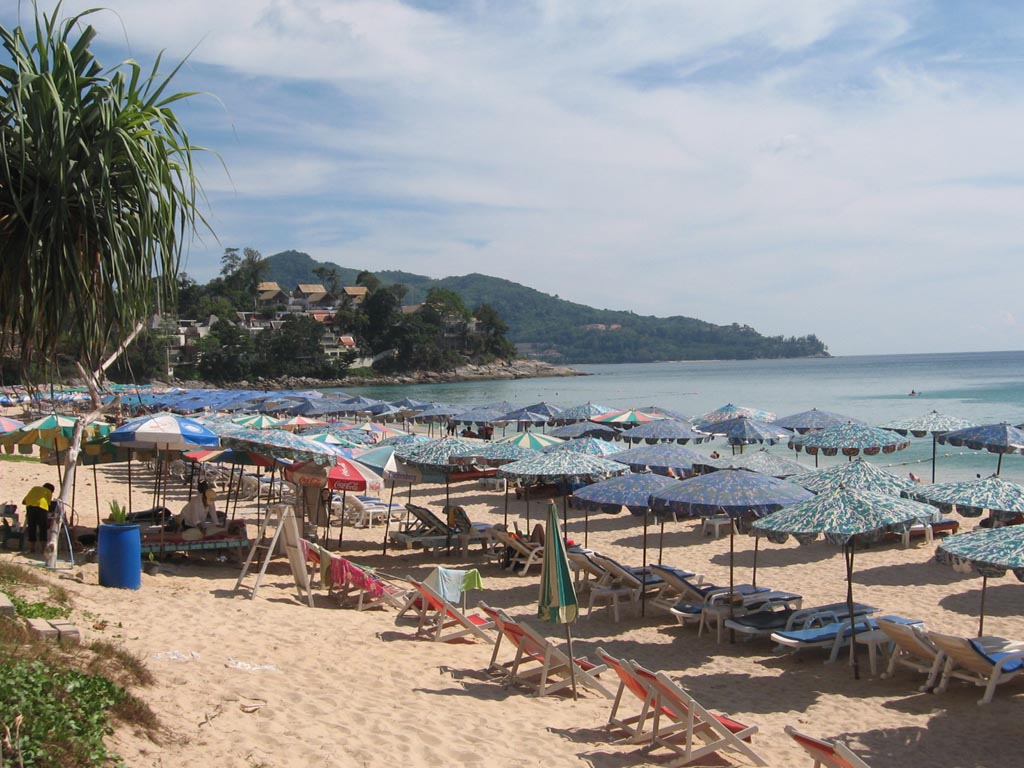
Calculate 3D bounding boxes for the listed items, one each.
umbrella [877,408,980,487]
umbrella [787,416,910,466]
[{"bbox_3d":[13.621,2.115,29.255,3.251,2.085,3.339,3,3,44],"label":"umbrella"},{"bbox_3d":[7.694,1.347,19.707,1.774,0.500,1.463,-4,8,-14],"label":"umbrella"}]
